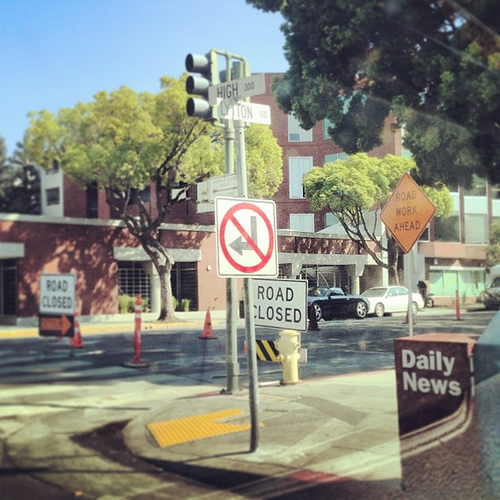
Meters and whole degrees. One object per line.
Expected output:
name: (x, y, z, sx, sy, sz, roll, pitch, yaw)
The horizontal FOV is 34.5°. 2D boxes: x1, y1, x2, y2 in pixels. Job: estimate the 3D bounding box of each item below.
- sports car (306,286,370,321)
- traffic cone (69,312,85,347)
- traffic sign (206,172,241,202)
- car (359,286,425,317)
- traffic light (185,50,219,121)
sports car: (3.078, 1.788, 27.321, 2.546, 0.993, 1.010, 1, -1, -43)
traffic cone: (-4.006, 1.828, 18.287, 0.458, 0.771, 0.479, 0, -11, -30)
traffic sign: (-0.391, -0.925, 11.603, 0.460, 0.439, 0.664, -2, 1, -38)
car: (5.387, 1.880, 30.448, 3.620, 1.374, 1.678, 7, -10, -43)
traffic light: (-0.686, -2.397, 11.673, 0.485, 1.066, 0.748, -2, -4, -2)
